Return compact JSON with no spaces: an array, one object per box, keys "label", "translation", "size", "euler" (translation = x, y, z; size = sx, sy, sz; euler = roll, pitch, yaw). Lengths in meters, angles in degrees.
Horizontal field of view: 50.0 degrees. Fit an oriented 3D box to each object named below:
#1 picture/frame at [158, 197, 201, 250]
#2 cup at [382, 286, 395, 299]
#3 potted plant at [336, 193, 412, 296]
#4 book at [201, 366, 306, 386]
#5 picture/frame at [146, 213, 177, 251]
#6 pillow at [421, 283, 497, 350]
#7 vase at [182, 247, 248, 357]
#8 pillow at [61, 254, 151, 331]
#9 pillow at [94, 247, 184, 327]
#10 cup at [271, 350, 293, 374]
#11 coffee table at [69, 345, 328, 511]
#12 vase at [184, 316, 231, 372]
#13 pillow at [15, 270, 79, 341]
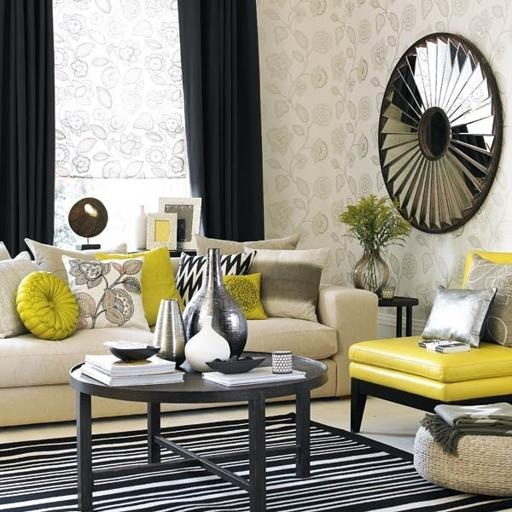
[{"label":"picture/frame","translation":[-0.585,-0.234,4.109],"size":[0.414,0.495,0.033],"euler":[-1,3,-8]},{"label":"cup","translation":[0.924,0.259,3.770],"size":[0.076,0.059,0.080],"euler":[2,1,0]},{"label":"potted plant","translation":[0.869,-0.060,3.963],"size":[0.428,0.614,0.490],"euler":[10,-8,-31]},{"label":"book","translation":[-0.002,0.363,1.645],"size":[0.316,0.037,0.164],"euler":[-1,8,-6]},{"label":"picture/frame","translation":[-0.696,-0.182,4.076],"size":[0.232,0.264,0.022],"euler":[1,1,16]},{"label":"pillow","translation":[0.949,0.270,2.527],"size":[0.091,0.306,0.327],"euler":[36,-7,-31]},{"label":"vase","translation":[-0.139,0.163,1.941],"size":[0.232,0.353,0.226],"euler":[0,9,15]},{"label":"pillow","translation":[-0.823,0.199,2.974],"size":[0.441,0.413,0.166],"euler":[1,-10,-22]},{"label":"pillow","translation":[-0.637,0.178,2.929],"size":[0.392,0.423,0.165],"euler":[-9,-13,-33]},{"label":"cup","translation":[0.080,0.332,1.719],"size":[0.064,0.060,0.063],"euler":[1,0,0]},{"label":"coffee table","translation":[-0.239,0.516,1.732],"size":[0.598,0.312,0.586],"euler":[1,-3,-32]},{"label":"vase","translation":[-0.165,0.300,1.822],"size":[0.136,0.170,0.140],"euler":[-14,-22,36]},{"label":"pillow","translation":[-1.050,0.242,2.689],"size":[0.113,0.309,0.316],"euler":[-23,-19,25]}]
